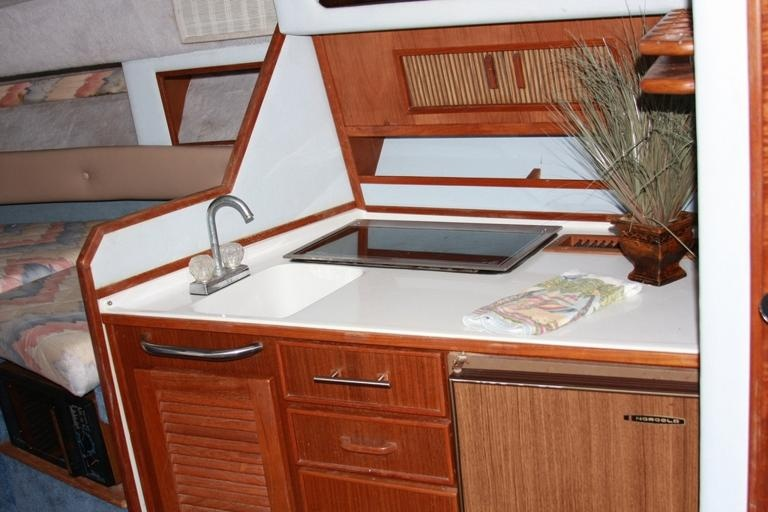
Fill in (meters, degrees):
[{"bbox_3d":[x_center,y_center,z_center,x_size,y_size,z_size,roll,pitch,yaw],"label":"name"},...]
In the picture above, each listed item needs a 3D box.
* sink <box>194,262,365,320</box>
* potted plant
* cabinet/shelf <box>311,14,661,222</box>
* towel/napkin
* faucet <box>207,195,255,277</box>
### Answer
[{"bbox_3d":[-0.305,0.085,1.858,0.284,0.117,0.368,8,22,23],"label":"sink"},{"bbox_3d":[0.713,-0.313,1.582,0.287,0.703,0.559,-8,21,-3],"label":"potted plant"},{"bbox_3d":[0.348,-0.468,1.819,1.028,0.758,0.273,1,51,22],"label":"cabinet/shelf"},{"bbox_3d":[0.445,0.114,1.426,0.344,0.028,0.198,-16,21,-37],"label":"towel/napkin"},{"bbox_3d":[-0.502,-0.075,1.818,0.149,0.252,0.189,-12,22,-14],"label":"faucet"}]
